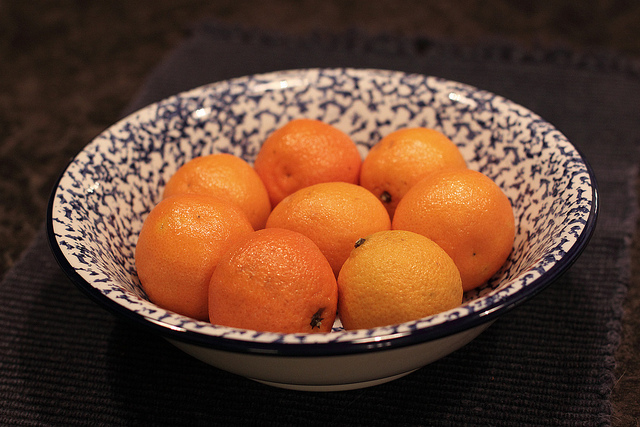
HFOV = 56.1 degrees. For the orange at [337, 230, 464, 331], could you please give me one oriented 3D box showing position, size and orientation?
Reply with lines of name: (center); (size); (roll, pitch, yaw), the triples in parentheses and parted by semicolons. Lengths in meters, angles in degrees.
orange: (0.117, 0.094, 0.908); (0.188, 0.064, 0.144); (-8, 76, 0)
